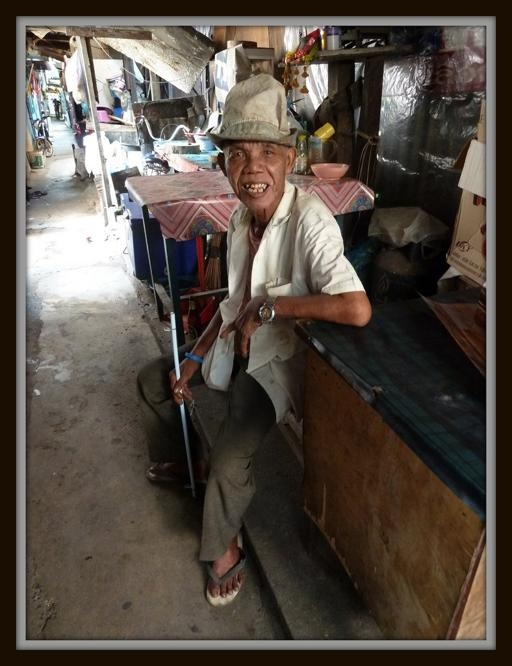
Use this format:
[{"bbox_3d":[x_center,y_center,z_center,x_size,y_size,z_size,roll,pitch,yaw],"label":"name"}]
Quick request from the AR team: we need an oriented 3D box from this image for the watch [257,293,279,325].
[{"bbox_3d":[0.037,-0.067,1.401,0.052,0.088,0.081,19,3,4],"label":"watch"}]

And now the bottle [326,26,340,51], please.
[{"bbox_3d":[0.466,-1.763,2.666,0.093,0.122,0.094,-1,23,1],"label":"bottle"}]

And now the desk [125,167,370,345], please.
[{"bbox_3d":[-0.103,-0.661,2.881,1.077,0.592,1.081,-11,32,-20],"label":"desk"}]
